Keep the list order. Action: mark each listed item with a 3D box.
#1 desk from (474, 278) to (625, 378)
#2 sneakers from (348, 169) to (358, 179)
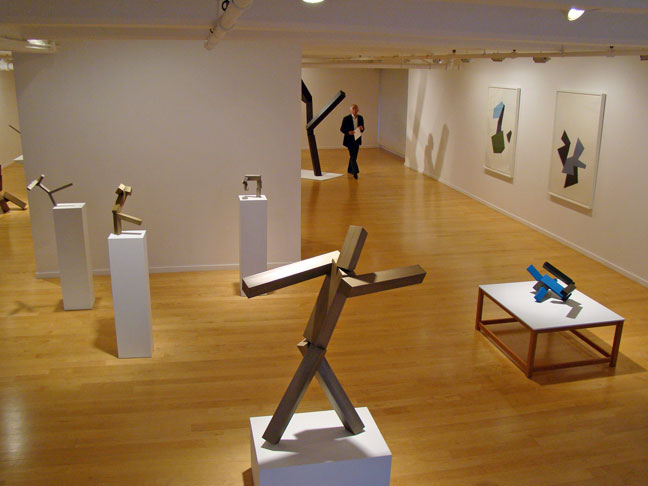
[{"bbox_3d":[2.597,0.955,5.922,1.374,0.656,1.100,-1,16,-9],"label":"desk"},{"bbox_3d":[0.788,-1.883,14.063,0.182,0.171,0.297,-7,24,-16],"label":"sneakers"}]
